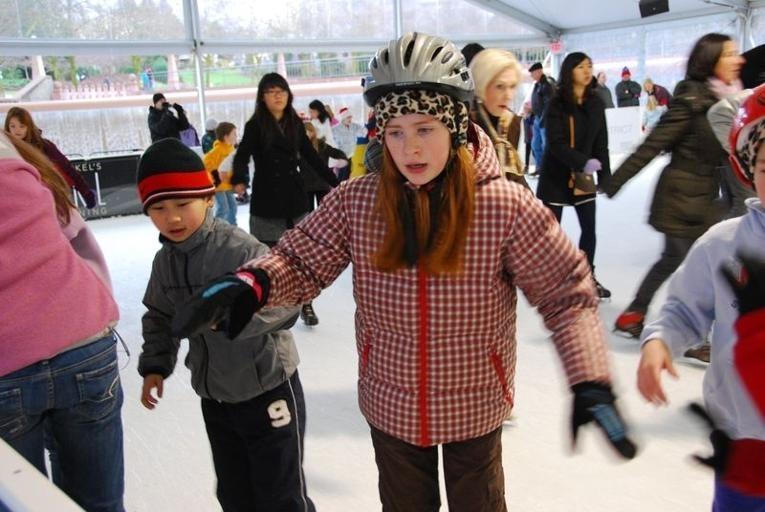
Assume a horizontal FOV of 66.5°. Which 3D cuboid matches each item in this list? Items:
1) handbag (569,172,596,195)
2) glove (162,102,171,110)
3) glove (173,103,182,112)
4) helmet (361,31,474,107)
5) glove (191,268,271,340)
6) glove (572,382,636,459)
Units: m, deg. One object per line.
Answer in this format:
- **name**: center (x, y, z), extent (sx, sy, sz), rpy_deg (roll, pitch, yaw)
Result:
- **handbag**: center (1.664, -0.610, 4.856), extent (0.194, 0.181, 0.081), rpy_deg (-3, 0, -11)
- **glove**: center (-3.600, -2.518, 9.690), extent (0.116, 0.095, 0.094), rpy_deg (27, 17, 13)
- **glove**: center (-3.532, -2.548, 9.957), extent (0.158, 0.154, 0.150), rpy_deg (-6, 30, -40)
- **helmet**: center (0.114, -0.640, 1.972), extent (0.363, 0.230, 0.494), rpy_deg (2, 19, 14)
- **glove**: center (-0.442, 0.134, 1.714), extent (0.209, 0.166, 0.083), rpy_deg (-45, 26, -27)
- **glove**: center (0.626, 0.462, 1.654), extent (0.177, 0.172, 0.125), rpy_deg (3, 17, 11)
